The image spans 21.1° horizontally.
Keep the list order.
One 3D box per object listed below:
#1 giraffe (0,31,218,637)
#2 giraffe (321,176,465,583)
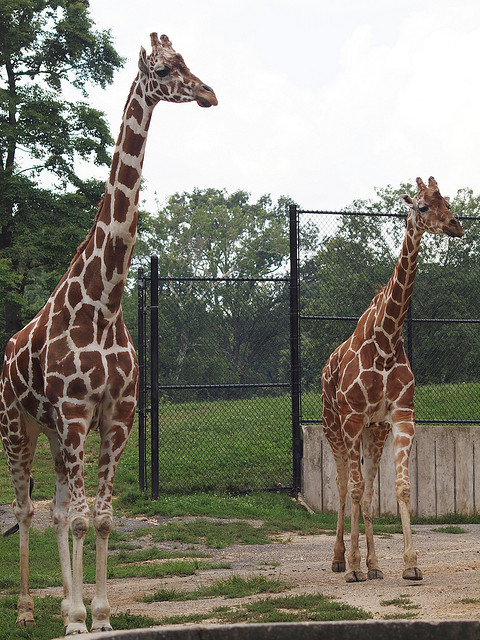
[{"bbox_3d":[-1.217,0.101,10.304,0.770,4.674,2.076,5,-8,-45],"label":"giraffe"},{"bbox_3d":[1.355,0.568,12.187,1.008,3.663,2.027,0,-6,-9],"label":"giraffe"}]
